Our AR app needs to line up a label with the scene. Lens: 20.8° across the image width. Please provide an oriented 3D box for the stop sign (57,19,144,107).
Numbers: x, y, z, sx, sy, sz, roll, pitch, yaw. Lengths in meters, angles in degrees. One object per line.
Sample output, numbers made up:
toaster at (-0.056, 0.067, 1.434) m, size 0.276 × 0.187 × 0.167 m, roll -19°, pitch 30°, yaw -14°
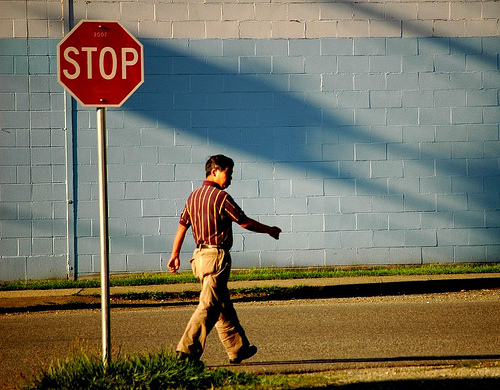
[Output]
stop sign at (-2.503, -2.201, 22.769) m, size 1.415 × 1.394 × 0.432 m, roll -2°, pitch 13°, yaw -8°

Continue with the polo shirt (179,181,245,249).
polo shirt at (-0.646, 0.427, 23.709) m, size 1.533 × 1.288 × 0.690 m, roll -5°, pitch -7°, yaw 29°
